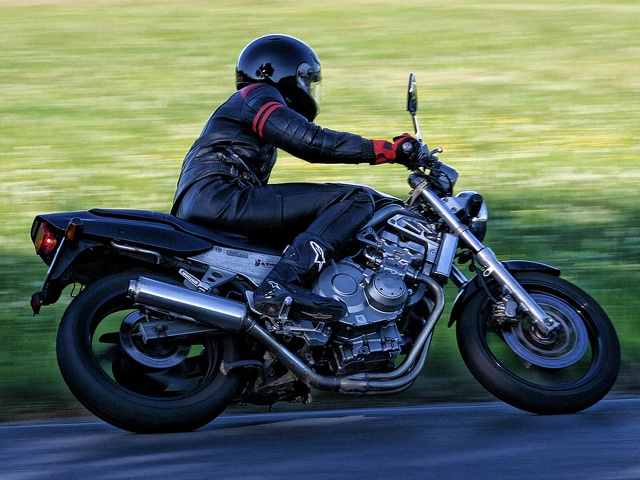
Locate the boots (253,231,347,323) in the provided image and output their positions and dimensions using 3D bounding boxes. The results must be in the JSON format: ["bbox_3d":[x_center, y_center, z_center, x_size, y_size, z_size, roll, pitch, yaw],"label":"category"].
[{"bbox_3d":[-0.134,0.224,4.542,0.532,0.524,0.294,-2,3,-3],"label":"boots"}]

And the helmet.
[{"bbox_3d":[-0.366,-1.186,5.333,0.711,0.428,0.484,1,18,-28],"label":"helmet"}]
